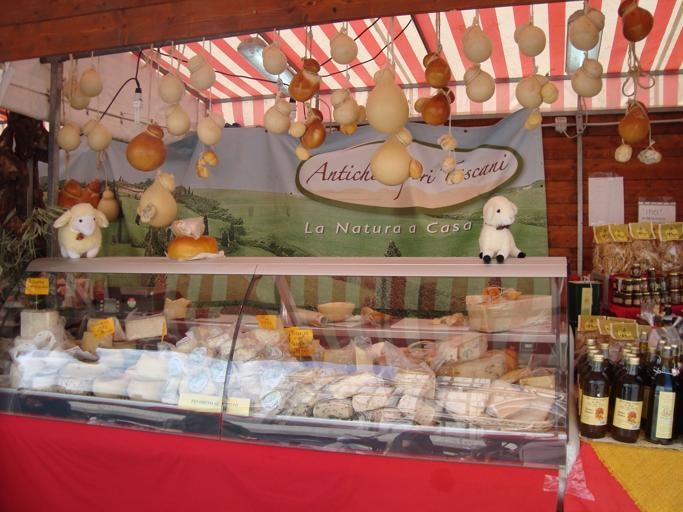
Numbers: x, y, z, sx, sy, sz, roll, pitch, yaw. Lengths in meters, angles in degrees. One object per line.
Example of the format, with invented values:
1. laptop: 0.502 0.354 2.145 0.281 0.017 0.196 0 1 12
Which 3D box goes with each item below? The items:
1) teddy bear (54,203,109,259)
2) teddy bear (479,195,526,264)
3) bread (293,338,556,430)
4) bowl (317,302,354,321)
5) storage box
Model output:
1. teddy bear: -1.310 -0.129 2.721 0.228 0.280 0.175 3 -7 -17
2. teddy bear: 0.704 -0.127 2.347 0.193 0.280 0.281 4 12 20
3. bread: 0.307 0.525 2.214 0.728 0.085 0.425 0 30 11
4. bowl: -0.019 0.233 2.470 0.111 0.053 0.113 -1 0 0
5. storage box: 0.692 0.223 2.231 0.324 0.189 0.175 0 -7 16
